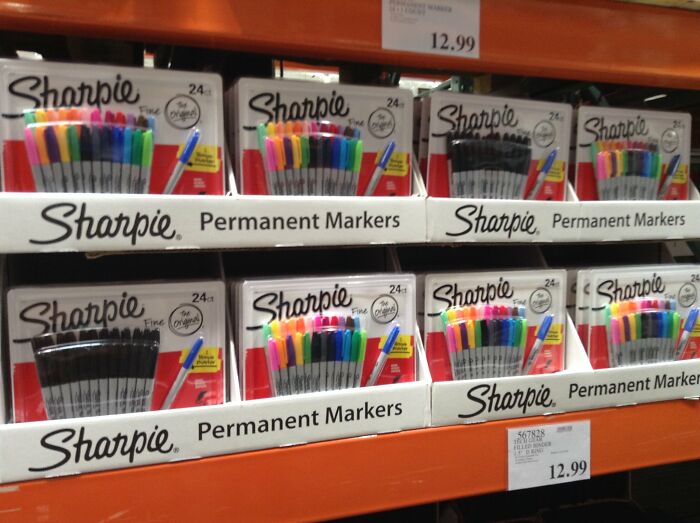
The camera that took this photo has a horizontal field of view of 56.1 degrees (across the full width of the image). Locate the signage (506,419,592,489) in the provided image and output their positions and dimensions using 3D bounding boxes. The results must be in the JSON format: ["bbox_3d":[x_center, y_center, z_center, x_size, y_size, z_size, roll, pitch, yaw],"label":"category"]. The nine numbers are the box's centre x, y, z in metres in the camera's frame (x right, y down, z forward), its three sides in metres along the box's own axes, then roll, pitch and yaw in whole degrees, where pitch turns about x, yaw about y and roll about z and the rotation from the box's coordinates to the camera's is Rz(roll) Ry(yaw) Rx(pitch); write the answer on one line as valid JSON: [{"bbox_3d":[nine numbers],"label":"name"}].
[{"bbox_3d":[0.421,0.407,1.410,0.145,0.107,0.022,-1,-1,-14],"label":"signage"}]

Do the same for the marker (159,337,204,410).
[{"bbox_3d":[-0.338,0.221,1.298,0.016,0.152,0.016,27,-9,-4],"label":"marker"}]

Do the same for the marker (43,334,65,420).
[{"bbox_3d":[-0.559,0.228,1.235,0.034,0.132,0.022,-4,11,2],"label":"marker"}]

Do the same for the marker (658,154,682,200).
[{"bbox_3d":[0.749,-0.202,1.543,0.014,0.110,0.013,18,5,-12],"label":"marker"}]
